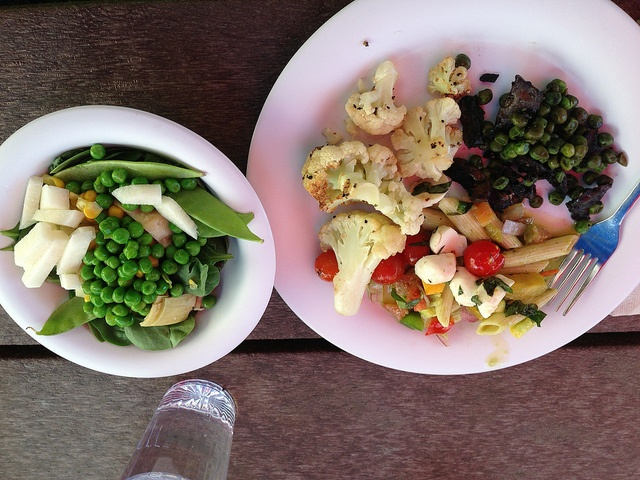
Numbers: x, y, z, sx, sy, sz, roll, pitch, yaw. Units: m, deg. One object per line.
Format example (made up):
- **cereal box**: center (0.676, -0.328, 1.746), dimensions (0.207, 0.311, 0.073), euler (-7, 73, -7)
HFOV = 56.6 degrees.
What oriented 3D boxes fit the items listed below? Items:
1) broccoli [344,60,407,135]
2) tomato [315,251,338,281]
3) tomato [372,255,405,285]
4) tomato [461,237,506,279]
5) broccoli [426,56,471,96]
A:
- **broccoli**: center (0.198, -0.479, 2.098), dimensions (0.214, 0.248, 0.117), euler (19, 10, -8)
- **tomato**: center (0.025, 0.101, 2.209), dimensions (0.092, 0.102, 0.060), euler (-4, -7, 11)
- **tomato**: center (0.253, 0.104, 2.229), dimensions (0.120, 0.095, 0.060), euler (-21, 32, -12)
- **tomato**: center (0.598, 0.072, 2.219), dimensions (0.143, 0.126, 0.126), euler (-12, 11, -6)
- **broccoli**: center (0.464, -0.577, 2.068), dimensions (0.144, 0.135, 0.043), euler (18, 22, -1)
